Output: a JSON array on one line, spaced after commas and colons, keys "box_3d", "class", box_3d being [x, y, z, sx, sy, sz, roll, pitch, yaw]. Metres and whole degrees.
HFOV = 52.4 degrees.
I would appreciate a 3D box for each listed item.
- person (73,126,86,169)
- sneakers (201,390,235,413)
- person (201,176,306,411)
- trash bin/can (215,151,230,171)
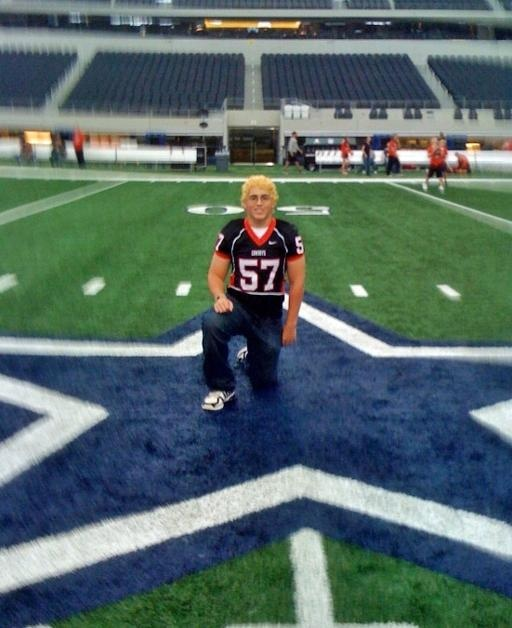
[{"box_3d": [-7.490, -7.004, 21.935, 0.388, 1.560, 2.857, -5, 16, -18], "class": "person"}, {"box_3d": [-0.199, 0.443, 2.734, 0.076, 0.077, 0.178, 0, -8, 28], "class": "sneakers"}, {"box_3d": [-0.025, -0.131, 2.759, 0.613, 1.169, 0.394, -4, 15, -15], "class": "person"}, {"box_3d": [-1.428, -6.423, 21.962, 0.502, 0.786, 0.980, -2, 15, -7], "class": "trash bin/can"}]
